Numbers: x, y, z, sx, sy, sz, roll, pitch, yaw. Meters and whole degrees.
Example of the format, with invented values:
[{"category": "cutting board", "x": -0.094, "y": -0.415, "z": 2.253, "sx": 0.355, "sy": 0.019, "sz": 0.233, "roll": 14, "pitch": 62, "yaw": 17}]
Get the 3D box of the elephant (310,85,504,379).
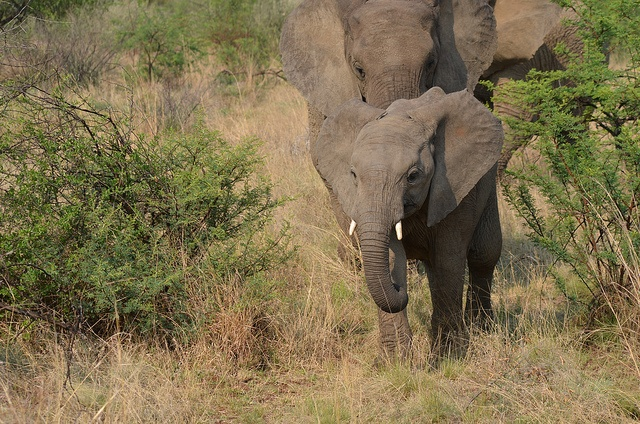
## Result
[{"category": "elephant", "x": 0.981, "y": 0.083, "z": 7.310, "sx": 1.666, "sy": 2.487, "sz": 2.840, "roll": 2, "pitch": 8, "yaw": 26}]
